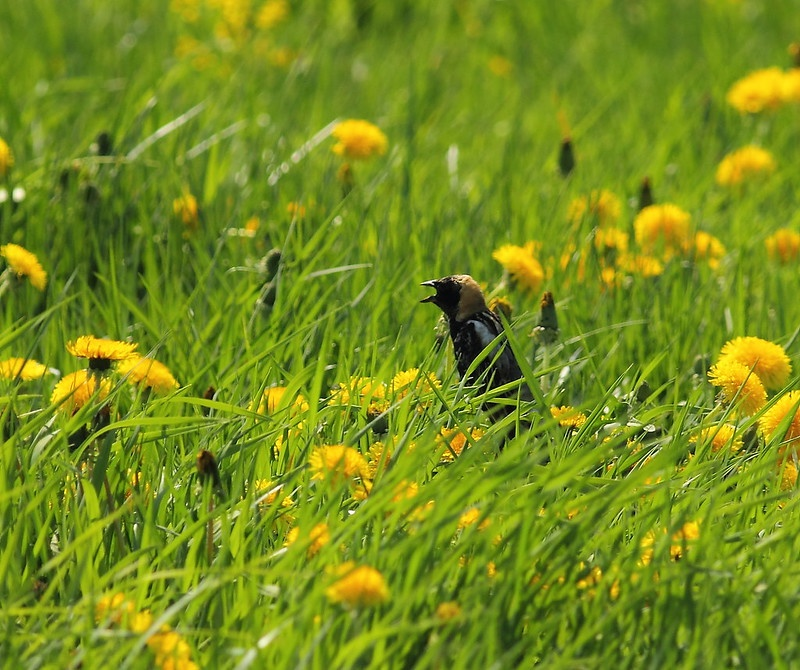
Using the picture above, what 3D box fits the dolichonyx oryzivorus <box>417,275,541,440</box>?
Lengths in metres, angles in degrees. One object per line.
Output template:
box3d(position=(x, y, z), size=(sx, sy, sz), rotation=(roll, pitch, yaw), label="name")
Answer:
box3d(position=(0.207, 0.067, 2.656), size=(0.276, 0.332, 0.396), rotation=(1, 18, -10), label="dolichonyx oryzivorus")
